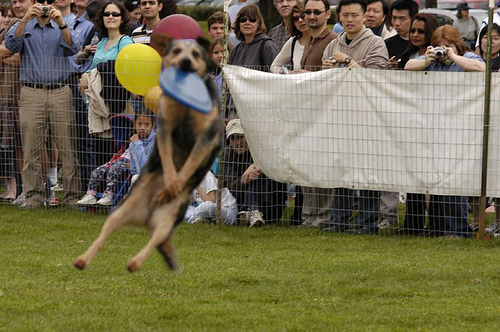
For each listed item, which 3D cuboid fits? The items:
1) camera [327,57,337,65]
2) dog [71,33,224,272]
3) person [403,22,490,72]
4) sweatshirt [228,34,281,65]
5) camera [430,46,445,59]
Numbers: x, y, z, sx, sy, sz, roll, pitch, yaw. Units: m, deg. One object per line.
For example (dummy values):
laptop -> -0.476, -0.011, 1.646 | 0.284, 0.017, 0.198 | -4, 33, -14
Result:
camera -> 1.380, -1.736, 18.176 | 0.043, 0.110, 0.106 | -2, -2, -45
dog -> -1.178, -0.051, 14.849 | 1.147, 2.111, 3.588 | 21, -37, -4
person -> 3.244, -1.900, 18.055 | 1.263, 0.795, 0.801 | 6, -2, 19
sweatshirt -> 0.088, -1.954, 19.236 | 0.865, 0.736, 0.474 | 7, 22, 42
camera -> 3.040, -1.814, 17.673 | 0.174, 0.118, 0.194 | -5, 17, 17
